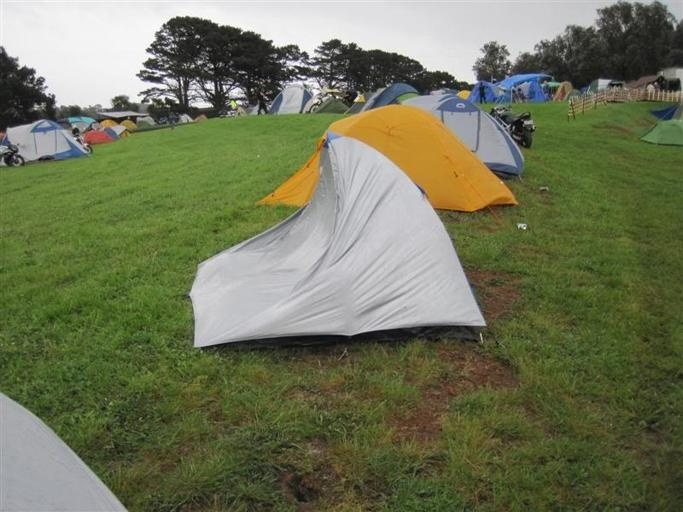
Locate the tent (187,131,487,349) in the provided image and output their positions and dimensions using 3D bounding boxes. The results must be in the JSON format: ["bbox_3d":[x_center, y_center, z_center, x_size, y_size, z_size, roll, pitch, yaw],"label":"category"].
[{"bbox_3d":[-0.159,0.058,7.344,2.859,1.934,3.414,-2,12,-15],"label":"tent"}]
